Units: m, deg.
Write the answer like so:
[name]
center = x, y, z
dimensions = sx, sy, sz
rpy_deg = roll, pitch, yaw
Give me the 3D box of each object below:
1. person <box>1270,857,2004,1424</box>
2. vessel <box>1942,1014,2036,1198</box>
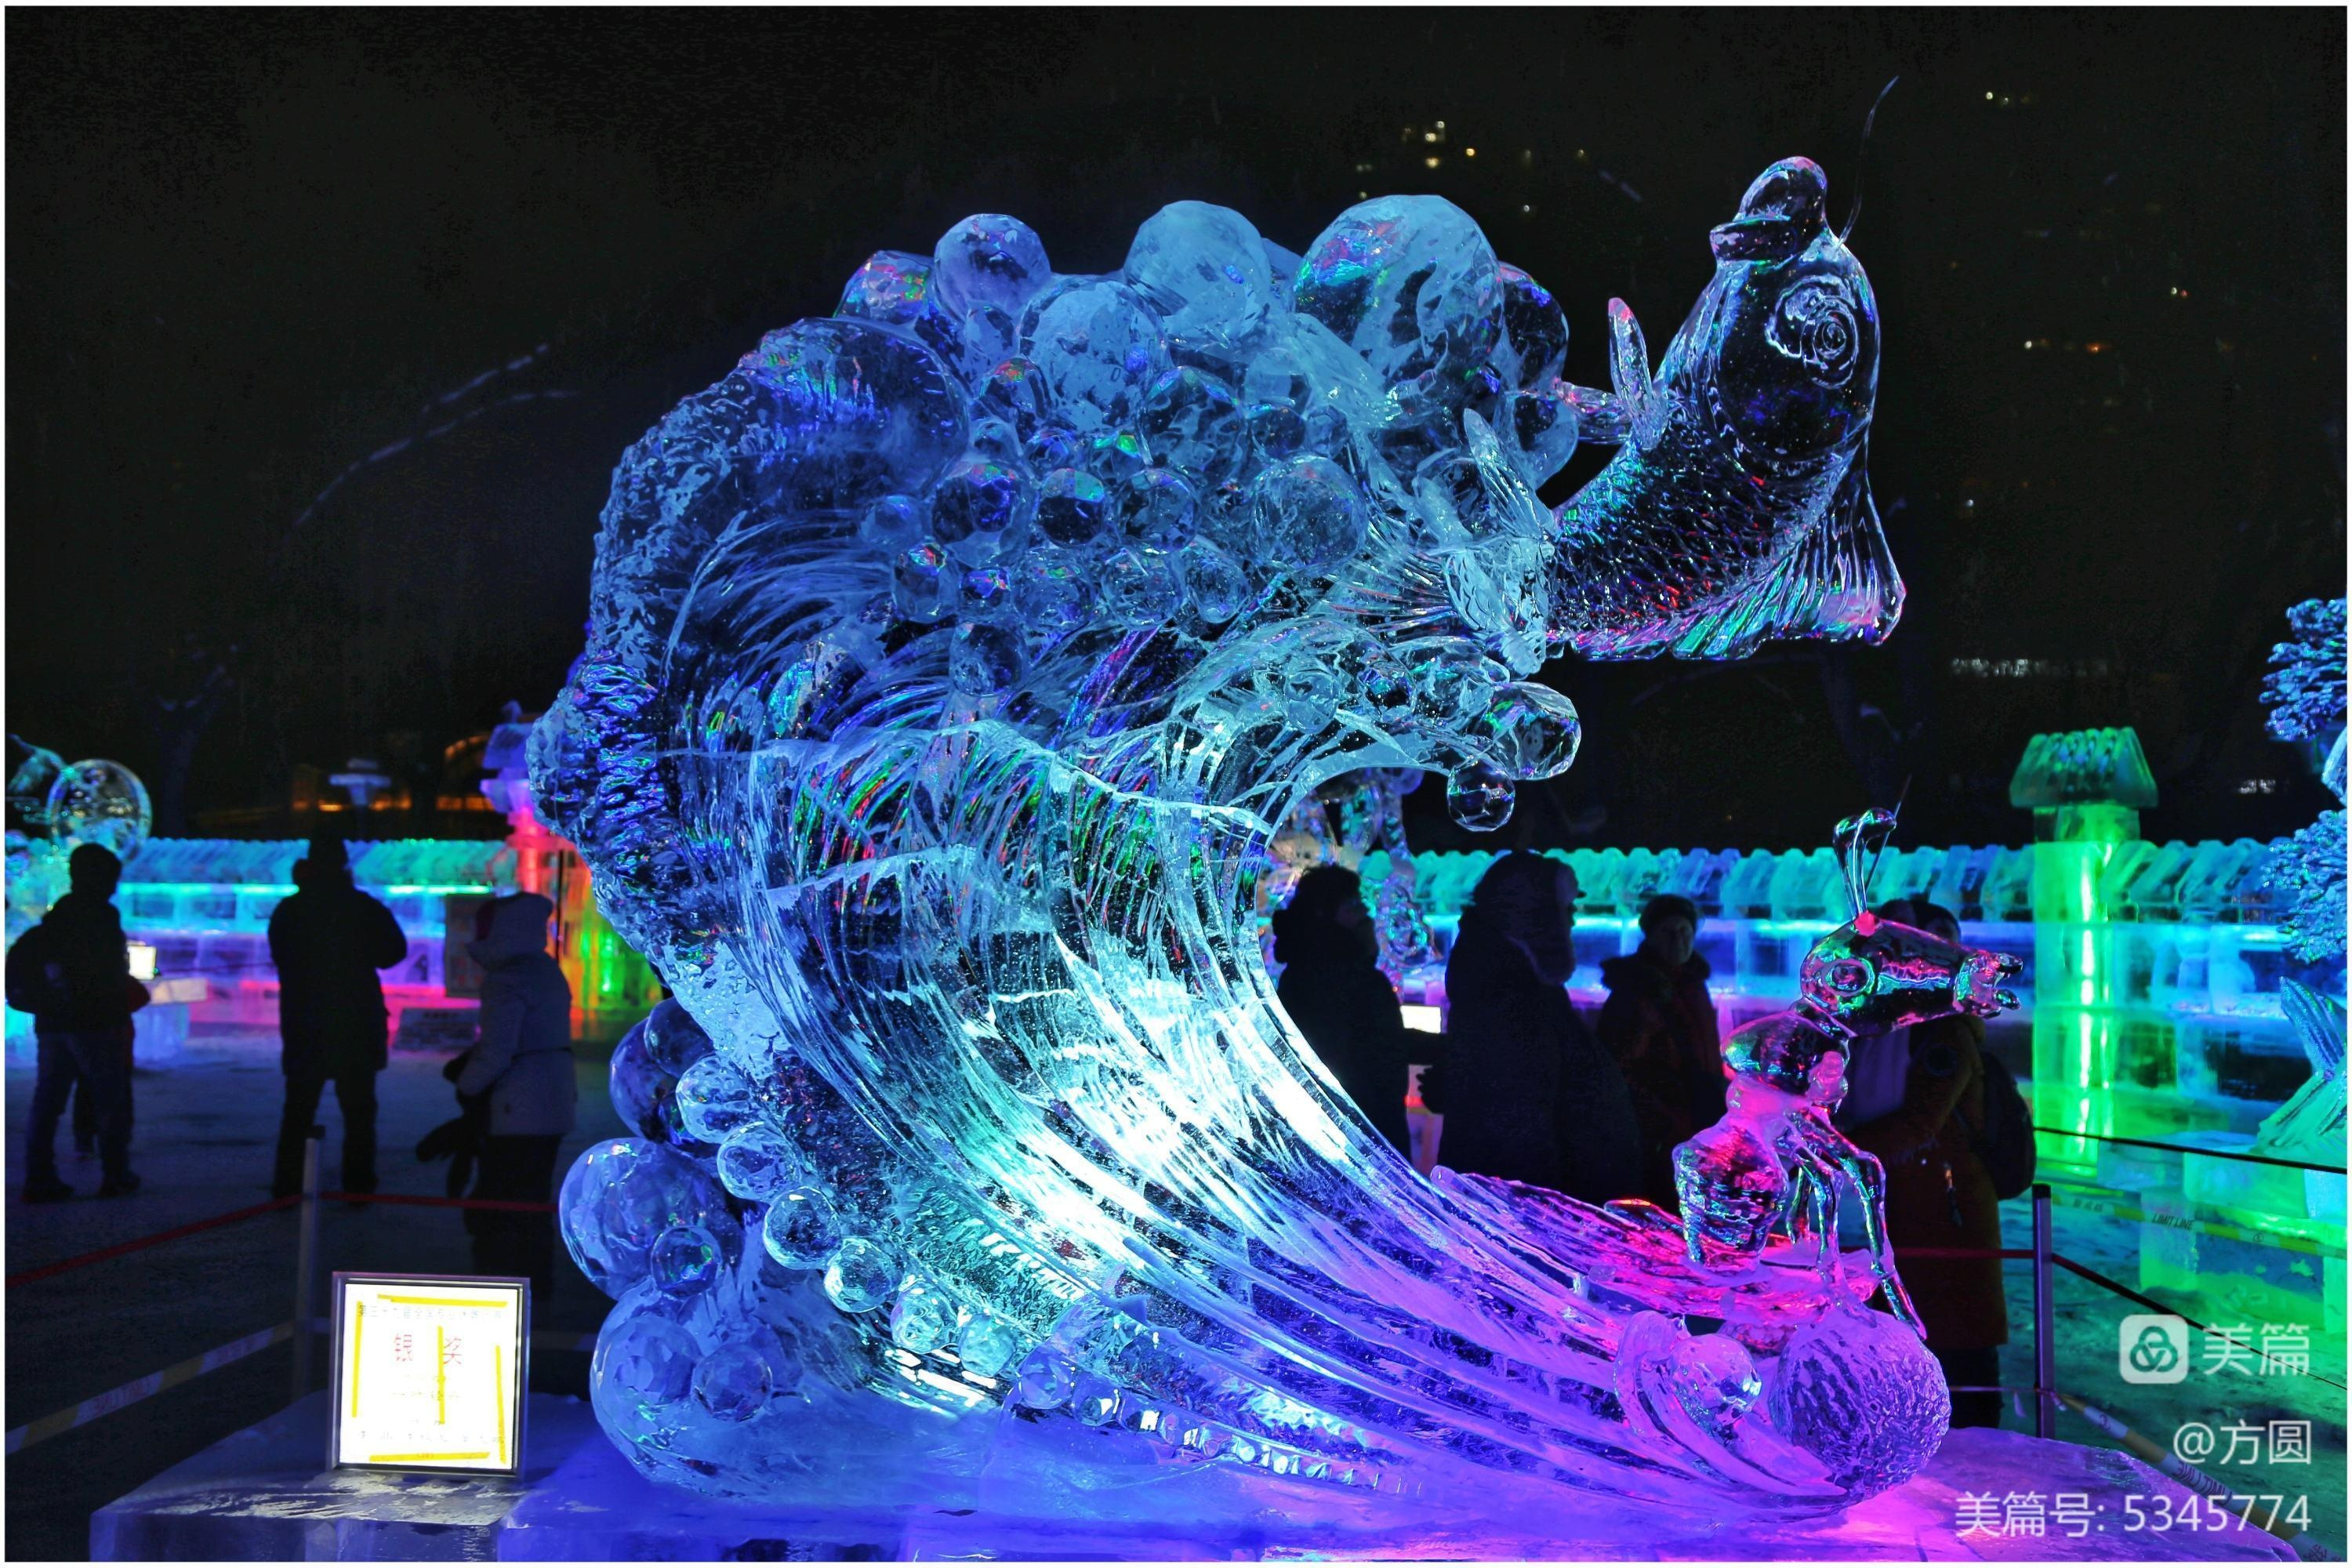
[person]
center = 1.531, 1.281, 8.664
dimensions = 1.326, 2.015, 0.773
rpy_deg = -7, 0, 16
[vessel]
center = 2.929, 1.157, 9.036
dimensions = 0.199, 0.588, 0.438
rpy_deg = -14, -17, 17
